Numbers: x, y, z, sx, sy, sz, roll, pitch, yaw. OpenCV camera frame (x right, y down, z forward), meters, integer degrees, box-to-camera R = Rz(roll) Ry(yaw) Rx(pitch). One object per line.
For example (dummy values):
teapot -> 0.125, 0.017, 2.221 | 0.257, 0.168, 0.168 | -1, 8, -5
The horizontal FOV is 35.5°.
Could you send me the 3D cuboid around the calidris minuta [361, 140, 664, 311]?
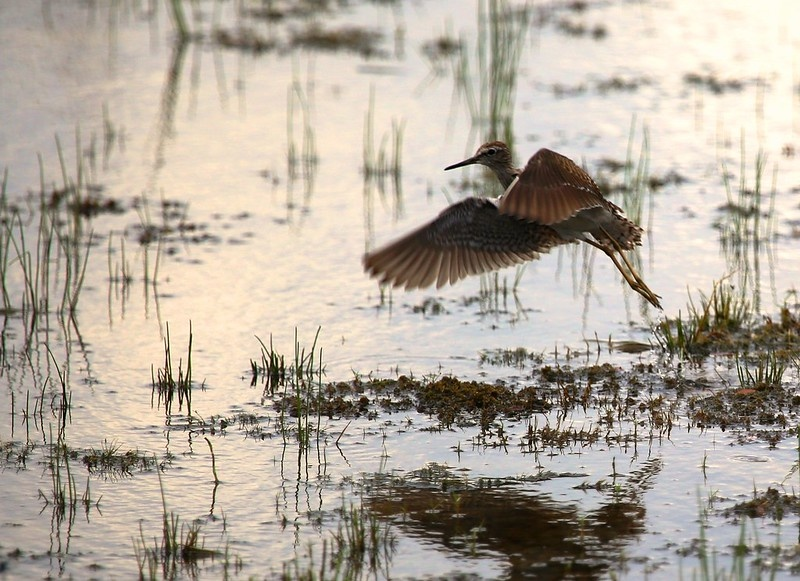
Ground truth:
calidris minuta -> 1.057, -0.615, 11.977 | 1.801, 1.161, 2.098 | 7, -9, -44
